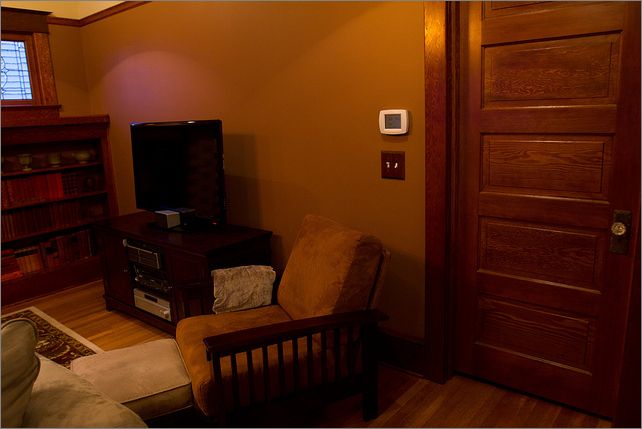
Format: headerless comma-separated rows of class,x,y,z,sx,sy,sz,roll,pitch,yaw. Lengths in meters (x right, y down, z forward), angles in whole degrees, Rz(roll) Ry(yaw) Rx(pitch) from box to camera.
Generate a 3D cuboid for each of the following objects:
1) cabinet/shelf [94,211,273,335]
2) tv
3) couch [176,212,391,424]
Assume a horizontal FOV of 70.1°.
cabinet/shelf,-1.305,0.528,4.156,1.662,0.844,0.627,8,17,38
tv,-1.190,-0.339,3.914,0.945,0.661,0.272,7,11,38
couch,-0.252,0.504,3.209,1.368,1.123,0.978,-6,12,-28
